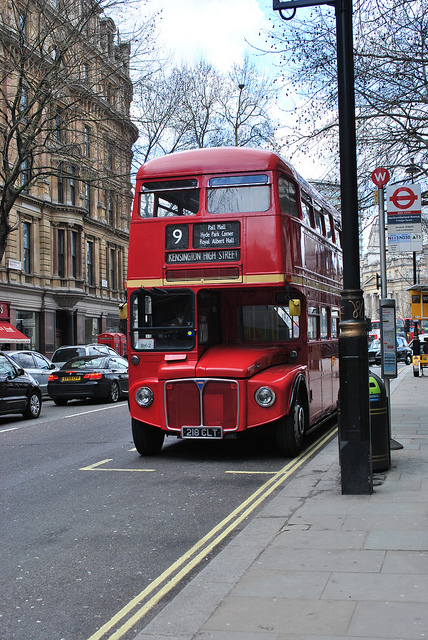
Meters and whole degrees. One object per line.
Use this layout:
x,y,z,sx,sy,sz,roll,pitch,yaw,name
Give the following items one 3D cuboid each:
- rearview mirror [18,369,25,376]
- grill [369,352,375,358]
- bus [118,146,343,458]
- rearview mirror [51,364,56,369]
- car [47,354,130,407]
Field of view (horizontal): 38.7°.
-4.947,1.336,15.648,0.149,0.140,0.143,-1,-1,-4,rearview mirror
10.076,2.205,38.749,0.248,0.290,0.619,-3,-4,-9,grill
1.102,-0.221,12.819,2.918,4.626,8.998,-1,-1,20,bus
-5.618,1.624,21.290,0.150,0.159,0.234,-2,-4,-15,rearview mirror
-3.880,1.918,19.642,1.482,1.535,2.430,-6,-5,34,car
